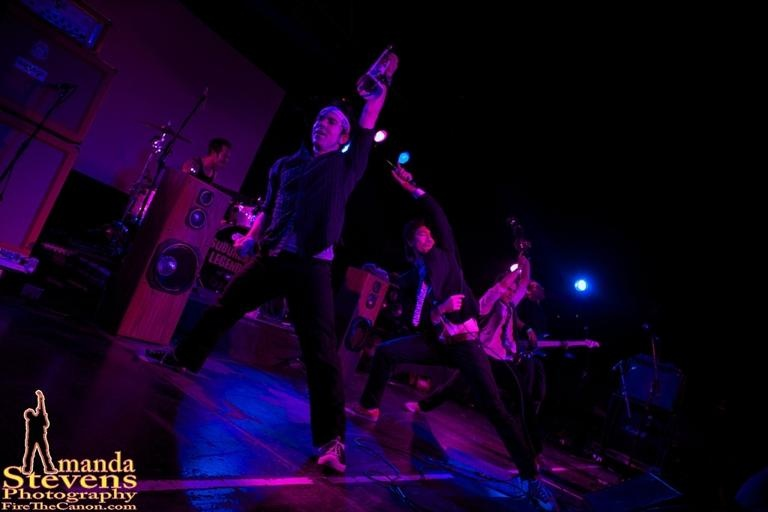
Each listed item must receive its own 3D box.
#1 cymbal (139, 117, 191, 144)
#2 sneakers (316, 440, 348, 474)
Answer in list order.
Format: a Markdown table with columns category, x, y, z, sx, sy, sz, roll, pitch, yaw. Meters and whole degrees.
| category | x | y | z | sx | sy | sz | roll | pitch | yaw |
| --- | --- | --- | --- | --- | --- | --- | --- | --- | --- |
| cymbal | -3.568 | -2.030 | 8.651 | 0.959 | 0.176 | 0.142 | 22 | -29 | 13 |
| sneakers | -0.474 | 1.800 | 4.783 | 0.171 | 0.156 | 0.363 | 6 | -10 | 7 |
